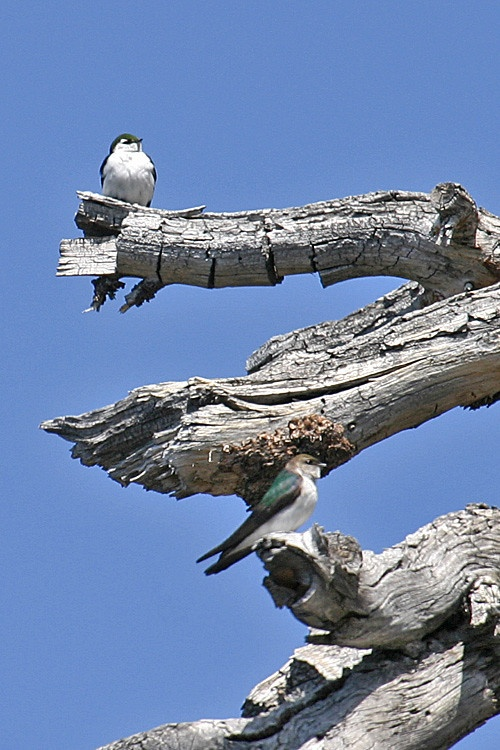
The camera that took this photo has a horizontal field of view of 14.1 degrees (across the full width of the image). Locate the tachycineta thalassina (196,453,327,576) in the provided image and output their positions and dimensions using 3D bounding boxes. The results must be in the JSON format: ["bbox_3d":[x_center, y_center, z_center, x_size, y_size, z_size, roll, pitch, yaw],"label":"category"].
[{"bbox_3d":[0.080,0.959,14.066,0.974,0.767,0.368,-9,-13,10],"label":"tachycineta thalassina"}]
